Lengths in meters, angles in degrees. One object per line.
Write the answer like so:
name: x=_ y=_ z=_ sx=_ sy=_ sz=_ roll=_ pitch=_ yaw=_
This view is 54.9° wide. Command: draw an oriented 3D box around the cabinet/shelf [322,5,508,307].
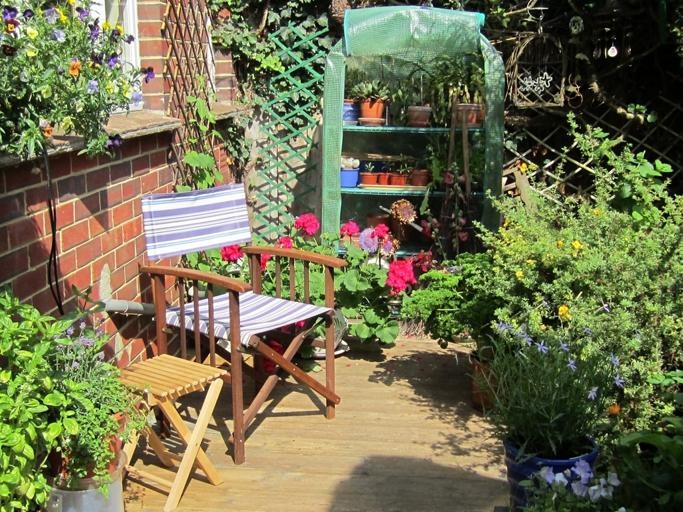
cabinet/shelf: x=0.508 y=-0.933 z=5.376 sx=1.678 sy=2.621 sz=1.508 roll=0 pitch=4 yaw=-1

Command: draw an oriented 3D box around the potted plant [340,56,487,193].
potted plant: x=0.641 y=-0.972 z=5.356 sx=0.963 sy=0.499 sz=1.014 roll=5 pitch=1 yaw=2

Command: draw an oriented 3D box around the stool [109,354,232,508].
stool: x=-0.743 y=0.690 z=3.111 sx=0.661 sy=0.680 sz=0.514 roll=7 pitch=9 yaw=41

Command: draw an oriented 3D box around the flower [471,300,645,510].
flower: x=0.741 y=0.573 z=2.827 sx=0.647 sy=0.891 sz=0.673 roll=0 pitch=-2 yaw=-6

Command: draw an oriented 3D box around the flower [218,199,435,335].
flower: x=0.070 y=0.016 z=4.696 sx=1.124 sy=0.753 sz=0.869 roll=19 pitch=19 yaw=37

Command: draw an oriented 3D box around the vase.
vase: x=-1.013 y=0.755 z=2.655 sx=0.250 sy=0.199 sz=0.272 roll=2 pitch=-3 yaw=0

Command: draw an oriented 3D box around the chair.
chair: x=-0.535 y=0.336 z=3.643 sx=0.851 sy=1.365 sz=0.875 roll=8 pitch=13 yaw=40
